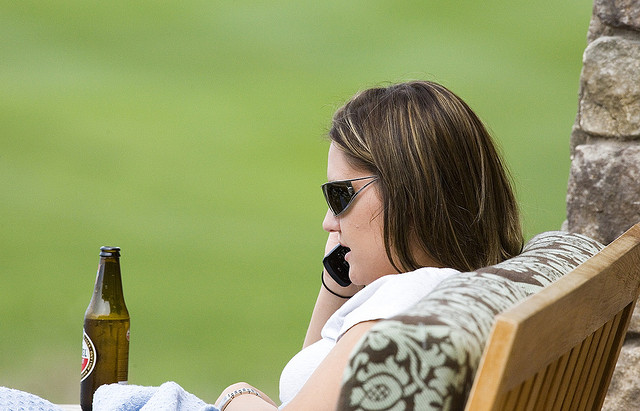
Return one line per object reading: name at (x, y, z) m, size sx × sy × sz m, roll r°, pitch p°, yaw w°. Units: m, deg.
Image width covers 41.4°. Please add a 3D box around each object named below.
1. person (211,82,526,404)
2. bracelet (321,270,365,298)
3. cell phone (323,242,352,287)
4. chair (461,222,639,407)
person at (0.298, 0.137, 3.122) m, size 1.171 × 1.257 × 0.911 m, roll -2°, pitch -3°, yaw 15°
bracelet at (0.072, 0.316, 3.369) m, size 0.093 × 0.072 × 0.025 m, roll -47°, pitch 4°, yaw 19°
cell phone at (0.075, 0.235, 3.308) m, size 0.114 × 0.152 × 0.053 m, roll -40°, pitch -1°, yaw 5°
chair at (0.669, 0.319, 2.512) m, size 0.370 × 0.359 × 0.656 m, roll -19°, pitch -58°, yaw -34°
